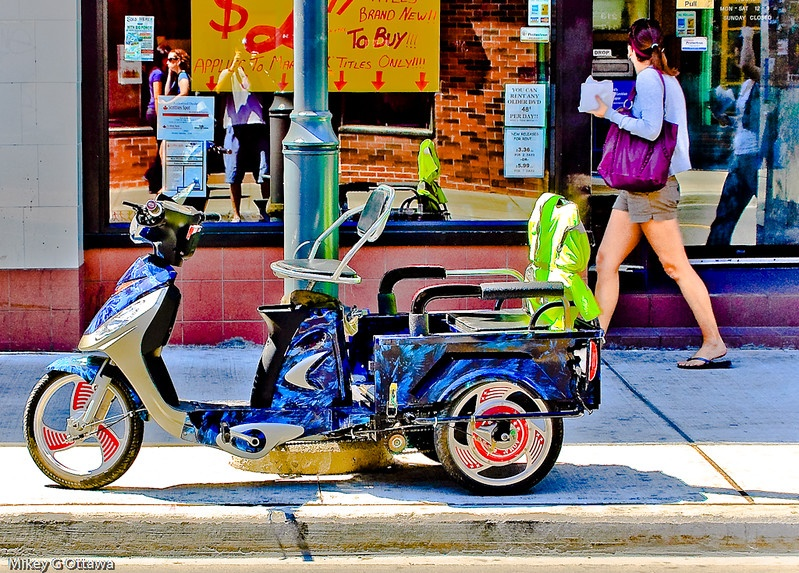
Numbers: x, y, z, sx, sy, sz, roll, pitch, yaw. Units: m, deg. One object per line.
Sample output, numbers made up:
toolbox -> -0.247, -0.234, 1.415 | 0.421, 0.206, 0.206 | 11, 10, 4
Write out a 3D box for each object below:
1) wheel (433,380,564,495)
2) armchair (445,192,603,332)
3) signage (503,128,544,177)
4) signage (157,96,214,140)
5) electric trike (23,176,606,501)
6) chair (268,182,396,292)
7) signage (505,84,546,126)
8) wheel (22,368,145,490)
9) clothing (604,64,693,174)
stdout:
wheel -> 0.656, 0.969, 10.544 | 0.640, 0.647, 0.192 | 11, 6, -9
armchair -> 0.708, -0.173, 10.993 | 1.058, 1.124, 0.772 | -2, 6, -22
signage -> 1.062, -1.189, 13.712 | 0.410, 0.477, 0.052 | 1, 2, -9
signage -> -1.846, -1.455, 13.577 | 0.374, 0.313, 0.041 | 0, -2, -12
electric trike -> -0.572, 0.372, 11.514 | 3.923, 2.204, 1.890 | 1, 0, -1
chair -> -0.443, -0.335, 10.630 | 0.793, 0.677, 0.608 | -3, 11, -24
signage -> 1.074, -1.591, 13.664 | 0.358, 0.344, 0.036 | 0, 2, -6
wheel -> -2.100, 0.970, 10.665 | 0.686, 0.719, 0.140 | 12, 3, 6
clothing -> 1.933, -1.461, 12.741 | 0.411, 0.595, 0.321 | -5, -8, 30
